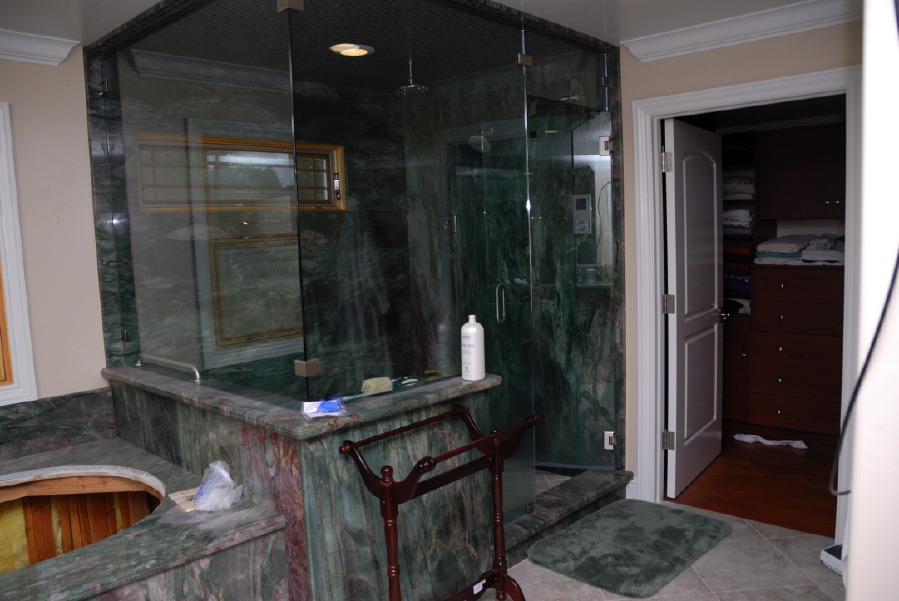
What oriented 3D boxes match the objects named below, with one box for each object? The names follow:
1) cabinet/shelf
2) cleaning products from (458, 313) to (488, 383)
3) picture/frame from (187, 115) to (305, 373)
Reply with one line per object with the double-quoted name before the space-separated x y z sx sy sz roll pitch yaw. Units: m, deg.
"cabinet/shelf" 2.755 -0.193 5.262 0.974 2.469 0.775 5 16 26
"cleaning products" 0.109 0.228 3.102 0.118 0.326 0.081 -7 15 -18
"picture/frame" -0.898 -0.271 2.856 0.603 1.032 0.033 -2 3 16
